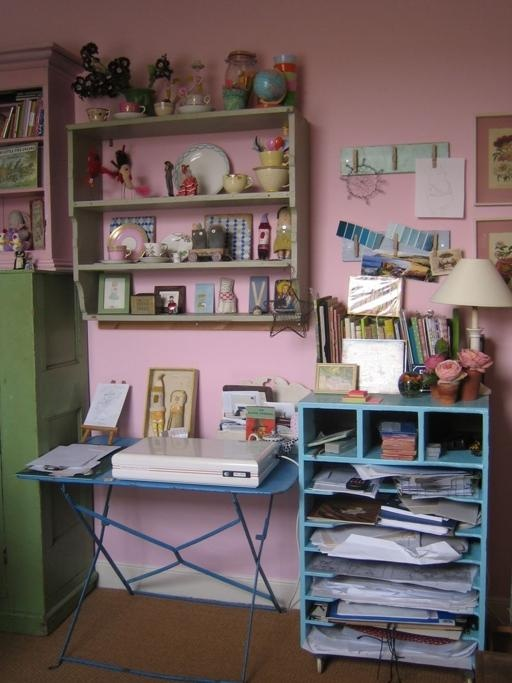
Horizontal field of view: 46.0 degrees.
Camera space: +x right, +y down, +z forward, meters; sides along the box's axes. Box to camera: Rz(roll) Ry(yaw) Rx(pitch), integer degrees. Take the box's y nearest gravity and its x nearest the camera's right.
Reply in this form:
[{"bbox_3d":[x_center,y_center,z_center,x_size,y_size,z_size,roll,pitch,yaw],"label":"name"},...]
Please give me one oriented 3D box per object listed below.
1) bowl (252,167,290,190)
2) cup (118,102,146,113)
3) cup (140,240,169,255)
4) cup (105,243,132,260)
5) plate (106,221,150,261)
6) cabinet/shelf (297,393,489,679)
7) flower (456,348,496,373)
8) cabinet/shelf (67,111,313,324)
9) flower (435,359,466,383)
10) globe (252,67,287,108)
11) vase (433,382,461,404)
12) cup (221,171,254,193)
[{"bbox_3d":[0.061,-0.627,2.361,0.098,0.059,0.095,0,3,0],"label":"bowl"},{"bbox_3d":[-0.516,-0.964,2.500,0.084,0.036,0.066,3,10,6],"label":"cup"},{"bbox_3d":[-0.436,-0.405,2.597,0.073,0.047,0.056,0,1,6],"label":"cup"},{"bbox_3d":[-0.603,-0.393,2.629,0.096,0.063,0.077,1,3,7],"label":"cup"},{"bbox_3d":[-0.587,-0.451,2.660,0.193,0.183,0.032,-3,3,7],"label":"plate"},{"bbox_3d":[0.499,0.710,2.214,0.653,1.046,0.426,0,4,19],"label":"cabinet/shelf"},{"bbox_3d":[0.763,0.059,2.097,0.089,0.054,0.095,16,7,-29],"label":"flower"},{"bbox_3d":[-0.255,-0.535,2.557,1.018,0.797,0.294,0,0,13],"label":"cabinet/shelf"},{"bbox_3d":[0.660,0.102,2.050,0.101,0.074,0.098,0,4,16],"label":"flower"},{"bbox_3d":[0.044,-0.955,2.298,0.137,0.117,0.146,2,12,-4],"label":"globe"},{"bbox_3d":[0.658,0.173,2.077,0.083,0.058,0.081,1,-4,-2],"label":"vase"},{"bbox_3d":[-0.078,-0.635,2.422,0.109,0.068,0.088,4,9,17],"label":"cup"}]
